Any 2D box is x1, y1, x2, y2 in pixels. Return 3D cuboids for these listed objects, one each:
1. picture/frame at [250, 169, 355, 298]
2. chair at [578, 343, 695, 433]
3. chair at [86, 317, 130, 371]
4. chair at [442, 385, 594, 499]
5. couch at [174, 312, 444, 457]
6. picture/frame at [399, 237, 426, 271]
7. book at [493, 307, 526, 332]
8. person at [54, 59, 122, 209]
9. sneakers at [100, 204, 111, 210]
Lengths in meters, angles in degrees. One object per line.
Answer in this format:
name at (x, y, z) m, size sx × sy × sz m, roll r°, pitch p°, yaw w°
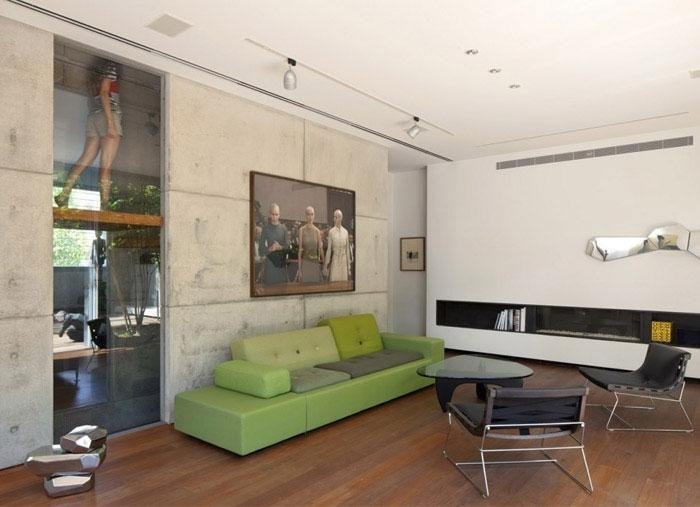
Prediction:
picture/frame at (-0.648, -0.176, 7.119) m, size 1.988 × 1.556 × 0.051 m, roll 5°, pitch 8°, yaw 35°
chair at (3.539, 1.526, 6.088) m, size 1.153 × 0.949 × 1.084 m, roll 0°, pitch -6°, yaw 11°
chair at (-2.676, 0.950, 5.450) m, size 0.429 × 0.574 × 0.477 m, roll -3°, pitch 2°, yaw -36°
chair at (1.761, 1.647, 5.041) m, size 1.123 × 0.780 × 1.404 m, roll -15°, pitch 1°, yaw 37°
couch at (-0.419, 1.522, 6.103) m, size 1.153 × 1.004 × 3.062 m, roll 9°, pitch 13°, yaw 43°
picture/frame at (1.280, 0.011, 10.050) m, size 0.675 × 0.855 × 0.056 m, roll -2°, pitch -6°, yaw 39°
book at (2.802, 1.150, 8.705) m, size 0.451 × 0.431 × 0.177 m, roll 1°, pitch -5°, yaw 38°
person at (-2.744, -1.287, 5.350) m, size 0.255 × 1.587 × 0.718 m, roll 3°, pitch 10°, yaw 16°
sneakers at (-2.639, -0.497, 5.424) m, size 0.062 × 0.079 × 0.116 m, roll 3°, pitch 2°, yaw 36°
